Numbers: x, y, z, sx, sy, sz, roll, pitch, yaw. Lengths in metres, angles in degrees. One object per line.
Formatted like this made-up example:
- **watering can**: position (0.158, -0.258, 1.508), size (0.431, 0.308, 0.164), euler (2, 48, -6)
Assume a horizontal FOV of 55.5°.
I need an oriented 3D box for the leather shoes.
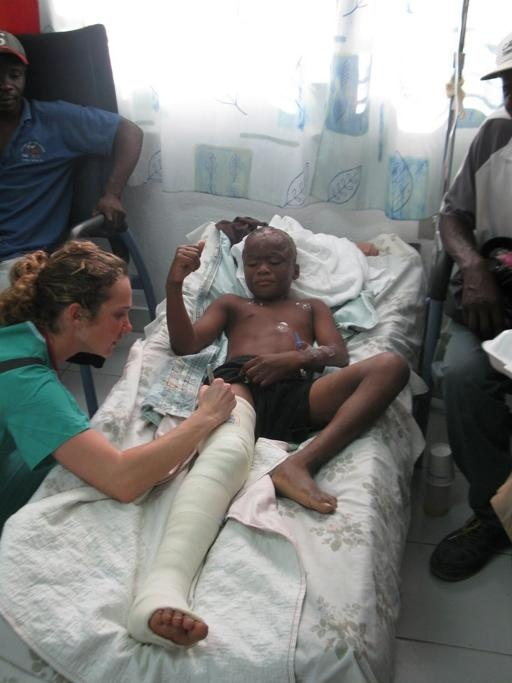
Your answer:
- **leather shoes**: position (0.553, 0.525, 1.279), size (0.206, 0.155, 0.094), euler (-12, 28, -28)
